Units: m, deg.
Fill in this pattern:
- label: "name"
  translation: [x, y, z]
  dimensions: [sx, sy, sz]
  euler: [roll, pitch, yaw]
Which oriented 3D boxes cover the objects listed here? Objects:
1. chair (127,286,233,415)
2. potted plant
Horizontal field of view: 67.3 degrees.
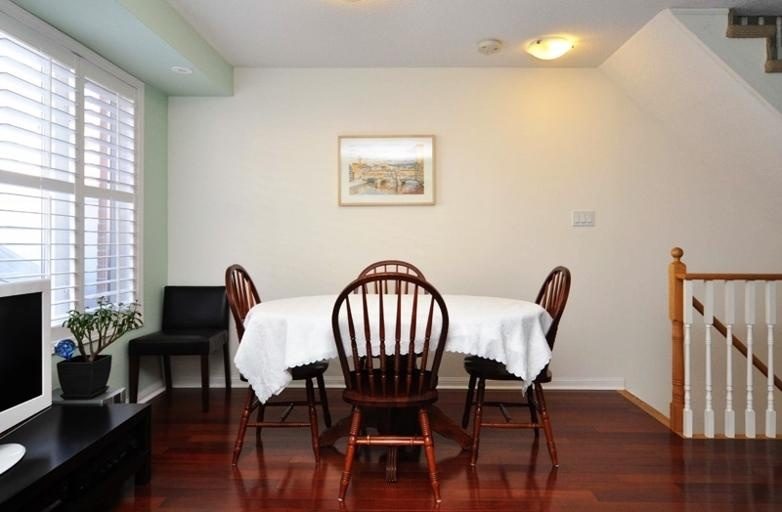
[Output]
- label: "chair"
  translation: [-1.695, 0.711, 4.814]
  dimensions: [0.669, 0.896, 0.774]
  euler: [0, 1, 6]
- label: "potted plant"
  translation: [-2.026, 0.636, 4.029]
  dimensions: [0.486, 0.615, 0.458]
  euler: [-1, -7, -32]
